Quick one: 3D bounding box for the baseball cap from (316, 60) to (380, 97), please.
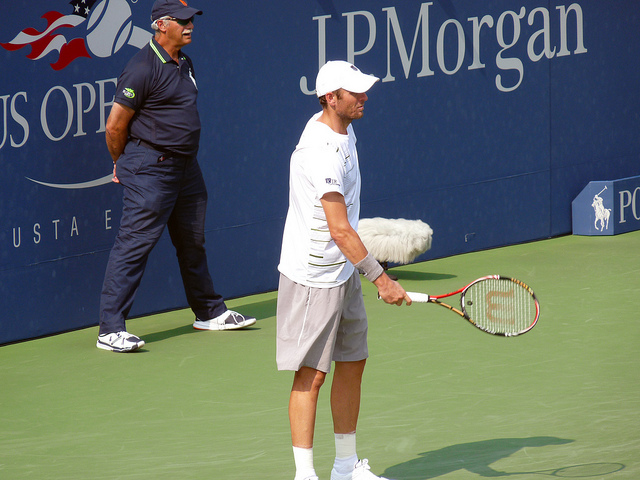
[{"bbox_3d":[0.139,-0.912,4.949,0.407,0.232,0.289,-6,6,16],"label":"baseball cap"}]

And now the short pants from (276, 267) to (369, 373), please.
[{"bbox_3d":[0.006,0.443,4.899,0.263,0.518,0.499,-6,-8,35],"label":"short pants"}]
